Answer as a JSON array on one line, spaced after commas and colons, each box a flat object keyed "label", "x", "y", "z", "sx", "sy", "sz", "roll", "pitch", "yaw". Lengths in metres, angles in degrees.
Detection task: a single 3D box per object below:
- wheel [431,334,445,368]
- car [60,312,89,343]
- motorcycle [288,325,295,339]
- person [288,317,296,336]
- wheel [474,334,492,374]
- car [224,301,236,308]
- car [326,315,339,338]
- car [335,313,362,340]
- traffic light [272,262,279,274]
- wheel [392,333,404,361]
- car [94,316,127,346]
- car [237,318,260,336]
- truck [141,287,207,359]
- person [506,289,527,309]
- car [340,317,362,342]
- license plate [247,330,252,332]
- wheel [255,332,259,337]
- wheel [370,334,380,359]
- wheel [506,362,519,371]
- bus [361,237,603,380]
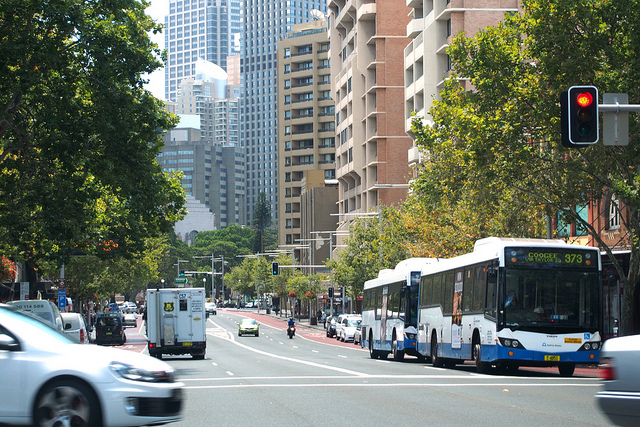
[{"label": "wheel", "x": 4.871, "y": 5.611, "z": 41.491, "sx": 0.488, "sy": 1.412, "sz": 1.380, "roll": 1, "pitch": 2, "yaw": -5}, {"label": "car", "x": -11.843, "y": 5.627, "z": 48.809, "sx": 1.323, "sy": 1.388, "sz": 2.681, "roll": -3, "pitch": -1, "yaw": -8}, {"label": "motorcycle", "x": -2.101, "y": 8.817, "z": 75.562, "sx": 0.424, "sy": 0.971, "sz": 1.592, "roll": -1, "pitch": -9, "yaw": -2}, {"label": "person", "x": -2.051, "y": 8.154, "z": 75.429, "sx": 0.704, "sy": 0.875, "sz": 1.474, "roll": 1, "pitch": 5, "yaw": 0}, {"label": "wheel", "x": 5.886, "y": 5.029, "z": 36.608, "sx": 0.473, "sy": 1.497, "sz": 1.476, "roll": 1, "pitch": -4, "yaw": 0}, {"label": "car", "x": -17.458, "y": 17.772, "z": 199.082, "sx": 2.259, "sy": 1.599, "sz": 6.172, "roll": 0, "pitch": -10, "yaw": -6}, {"label": "car", "x": 1.048, "y": 8.707, "z": 78.453, "sx": 0.888, "sy": 0.828, "sz": 1.570, "roll": 1, "pitch": -11, "yaw": -6}, {"label": "car", "x": 1.732, "y": 8.100, "z": 74.496, "sx": 1.541, "sy": 1.335, "sz": 2.582, "roll": 3, "pitch": -14, "yaw": -17}, {"label": "traffic light", "x": -4.003, "y": 5.016, "z": 93.015, "sx": 0.443, "sy": 1.099, "sz": 1.440, "roll": 1, "pitch": -9, "yaw": -11}, {"label": "wheel", "x": 3.612, "y": 6.083, "z": 46.514, "sx": 0.418, "sy": 1.326, "sz": 1.305, "roll": 1, "pitch": -5, "yaw": -4}, {"label": "car", "x": -13.492, "y": 7.564, "z": 66.119, "sx": 1.496, "sy": 1.125, "sz": 2.030, "roll": -1, "pitch": 2, "yaw": -3}, {"label": "car", "x": -5.565, "y": 9.001, "z": 80.017, "sx": 1.450, "sy": 1.245, "sz": 2.218, "roll": 0, "pitch": -9, "yaw": -8}, {"label": "truck", "x": -7.147, "y": 5.174, "z": 50.319, "sx": 2.507, "sy": 2.792, "sz": 4.370, "roll": -1, "pitch": -2, "yaw": -7}, {"label": "person", "x": 6.746, "y": 2.978, "z": 35.265, "sx": 0.516, "sy": 0.724, "sz": 0.215, "roll": -2, "pitch": 0, "yaw": 5}, {"label": "car", "x": 2.258, "y": 8.073, "z": 70.868, "sx": 1.246, "sy": 1.123, "sz": 2.201, "roll": 1, "pitch": -11, "yaw": -9}, {"label": "license plate", "x": -5.427, "y": 9.138, "z": 78.960, "sx": 0.301, "sy": 0.152, "sz": 0.060, "roll": -2, "pitch": -8, "yaw": 3}, {"label": "wheel", "x": -4.922, "y": 9.631, "z": 80.248, "sx": 0.265, "sy": 0.192, "sz": 0.269, "roll": 2, "pitch": -20, "yaw": 1}, {"label": "wheel", "x": 2.750, "y": 6.572, "z": 50.146, "sx": 0.422, "sy": 1.227, "sz": 1.206, "roll": 2, "pitch": -2, "yaw": -4}, {"label": "wheel", "x": 7.180, "y": 5.702, "z": 37.834, "sx": 0.749, "sy": 0.204, "sz": 0.830, "roll": 0, "pitch": -5, "yaw": 2}, {"label": "bus", "x": 6.563, "y": 4.198, "z": 42.162, "sx": 3.986, "sy": 4.340, "sz": 15.029, "roll": 3, "pitch": -10, "yaw": -13}]
